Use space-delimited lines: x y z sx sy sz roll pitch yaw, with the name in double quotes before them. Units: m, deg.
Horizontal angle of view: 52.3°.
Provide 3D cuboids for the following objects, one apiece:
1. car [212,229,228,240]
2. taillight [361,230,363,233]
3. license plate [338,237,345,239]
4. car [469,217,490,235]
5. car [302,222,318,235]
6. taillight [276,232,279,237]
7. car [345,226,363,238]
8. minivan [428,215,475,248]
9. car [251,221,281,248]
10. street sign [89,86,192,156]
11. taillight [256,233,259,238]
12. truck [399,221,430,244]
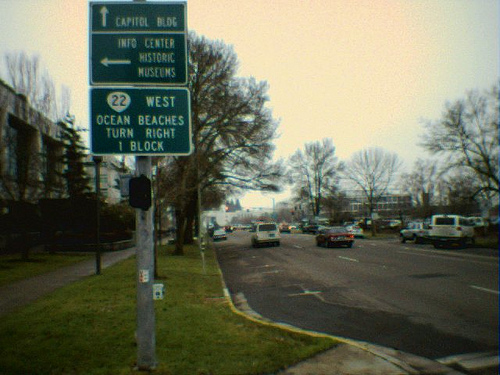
"car" -3.410 5.527 57.283 1.294 1.134 1.949 0 5 7
"taillight" 10.919 4.395 50.336 0.247 0.279 0.259 2 3 37
"license plate" 6.188 3.458 34.682 0.424 0.097 0.107 1 5 12
"car" 16.371 2.801 36.566 1.448 1.796 1.097 -1 0 -34
"car" 7.956 5.351 66.395 1.194 1.143 2.073 1 1 2
"taillight" 2.102 3.664 39.297 0.174 0.389 0.363 -1 -3 -4
"car" 9.212 3.970 45.349 1.249 0.801 2.254 0 -1 0
"minivan" 13.001 2.714 32.522 2.013 2.090 3.742 2 0 41
"car" 1.061 3.580 40.152 1.246 1.358 2.400 -1 0 -9
"street sign" -2.746 -1.559 12.476 2.318 2.029 0.348 1 -3 -7
"taillight" 0.550 3.702 38.935 0.179 0.365 0.091 1 3 3
"truck" 12.497 3.380 38.188 1.058 1.308 2.105 2 0 -19
